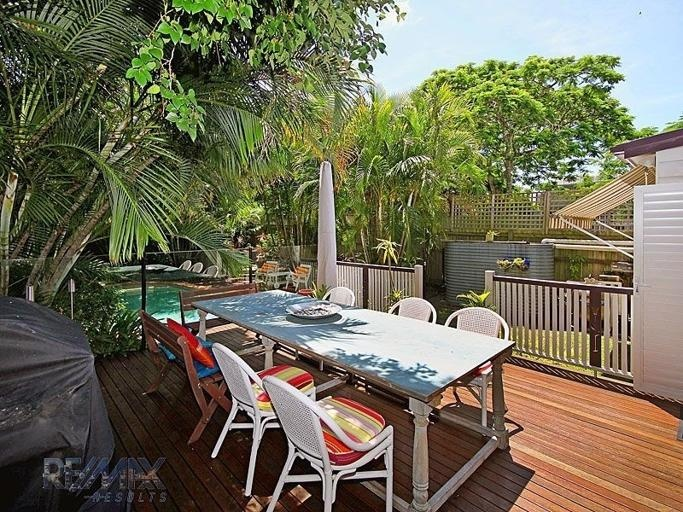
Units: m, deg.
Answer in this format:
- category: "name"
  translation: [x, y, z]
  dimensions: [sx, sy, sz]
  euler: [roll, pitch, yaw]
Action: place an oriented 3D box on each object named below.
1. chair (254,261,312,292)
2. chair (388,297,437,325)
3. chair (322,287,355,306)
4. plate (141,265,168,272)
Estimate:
- category: "chair"
  translation: [-1.104, 0.367, 7.543]
  dimensions: [0.766, 0.385, 0.461]
  euler: [-4, 8, -44]
- category: "chair"
  translation: [0.848, 0.607, 4.736]
  dimensions: [0.414, 0.522, 0.395]
  euler: [0, -3, 34]
- category: "chair"
  translation: [-0.014, 0.551, 5.475]
  dimensions: [0.288, 0.391, 0.286]
  euler: [2, 0, 32]
- category: "plate"
  translation: [-2.781, 0.188, 6.141]
  dimensions: [0.290, 0.113, 0.012]
  euler: [-9, 13, -35]
